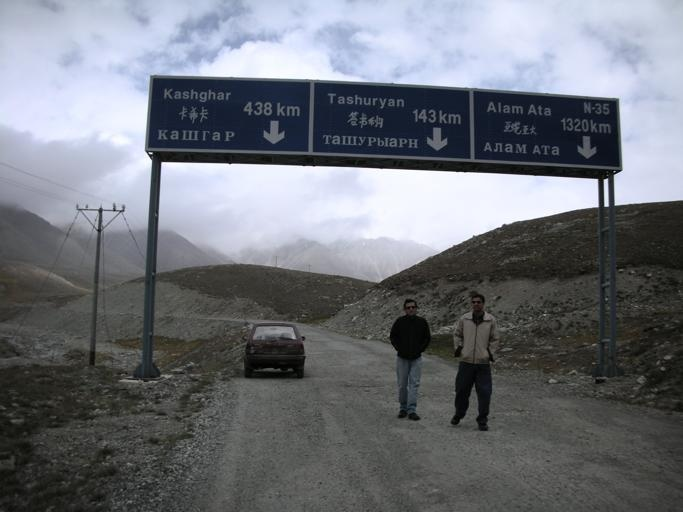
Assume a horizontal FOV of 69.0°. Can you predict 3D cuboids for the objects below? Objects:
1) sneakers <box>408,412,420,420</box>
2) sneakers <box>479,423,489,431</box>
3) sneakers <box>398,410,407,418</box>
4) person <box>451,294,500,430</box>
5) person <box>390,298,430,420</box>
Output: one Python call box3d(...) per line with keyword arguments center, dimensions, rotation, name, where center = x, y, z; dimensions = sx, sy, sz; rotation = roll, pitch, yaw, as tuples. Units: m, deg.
box3d(center=(1.676, 3.594, 11.163), dimensions=(0.297, 0.151, 0.249), rotation=(3, -7, -9), name="sneakers")
box3d(center=(3.033, 3.565, 10.434), dimensions=(0.243, 0.147, 0.234), rotation=(2, -7, -2), name="sneakers")
box3d(center=(1.409, 3.592, 11.274), dimensions=(0.197, 0.163, 0.123), rotation=(1, -7, 5), name="sneakers")
box3d(center=(2.889, 2.240, 10.657), dimensions=(0.948, 2.822, 0.692), rotation=(0, -7, 18), name="person")
box3d(center=(1.618, 2.368, 11.591), dimensions=(0.868, 2.685, 1.135), rotation=(1, -6, 10), name="person")
